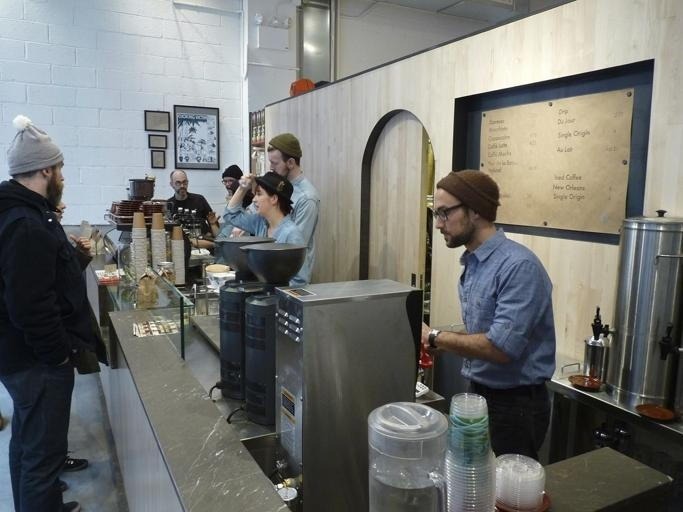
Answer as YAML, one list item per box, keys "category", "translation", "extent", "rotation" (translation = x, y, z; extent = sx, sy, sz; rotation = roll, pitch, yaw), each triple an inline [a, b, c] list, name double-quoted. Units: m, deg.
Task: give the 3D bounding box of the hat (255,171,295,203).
- category: "hat"
  translation: [-0.410, -0.442, 3.243]
  extent: [0.206, 0.076, 0.171]
  rotation: [36, -6, -32]

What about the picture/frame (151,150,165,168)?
- category: "picture/frame"
  translation: [-2.394, -1.264, 6.806]
  extent: [0.209, 0.271, 0.019]
  rotation: [-4, 8, -34]

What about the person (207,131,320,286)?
- category: "person"
  translation: [-0.509, -0.374, 3.932]
  extent: [0.739, 1.125, 1.571]
  rotation: [-2, 10, -12]

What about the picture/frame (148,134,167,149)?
- category: "picture/frame"
  translation: [-2.390, -1.483, 6.767]
  extent: [0.191, 0.150, 0.015]
  rotation: [-3, 8, -33]

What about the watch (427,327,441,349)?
- category: "watch"
  translation: [0.399, 0.359, 2.320]
  extent: [0.048, 0.075, 0.079]
  rotation: [4, 44, 5]

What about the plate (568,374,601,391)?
- category: "plate"
  translation: [1.250, 0.644, 2.702]
  extent: [0.130, 0.045, 0.164]
  rotation: [-8, 12, -36]

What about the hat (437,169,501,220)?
- category: "hat"
  translation: [0.583, -0.294, 2.409]
  extent: [0.246, 0.195, 0.204]
  rotation: [37, 24, 24]

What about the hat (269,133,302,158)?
- category: "hat"
  translation: [-0.427, -0.862, 4.068]
  extent: [0.224, 0.128, 0.162]
  rotation: [22, 14, -38]

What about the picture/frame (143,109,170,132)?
- category: "picture/frame"
  translation: [-2.389, -1.741, 6.727]
  extent: [0.287, 0.260, 0.034]
  rotation: [-2, 2, -32]

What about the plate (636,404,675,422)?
- category: "plate"
  translation: [1.466, 0.721, 2.438]
  extent: [0.164, 0.034, 0.126]
  rotation: [-1, 10, -2]

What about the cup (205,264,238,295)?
- category: "cup"
  translation: [-0.762, 0.124, 3.313]
  extent: [0.181, 0.139, 0.317]
  rotation: [4, 3, 34]

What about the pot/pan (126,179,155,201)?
- category: "pot/pan"
  translation: [-1.587, -0.519, 4.164]
  extent: [0.189, 0.156, 0.179]
  rotation: [-2, 3, -37]

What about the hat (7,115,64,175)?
- category: "hat"
  translation: [-1.681, -0.614, 2.953]
  extent: [0.306, 0.336, 0.282]
  rotation: [-10, 14, -21]

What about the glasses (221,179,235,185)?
- category: "glasses"
  translation: [-1.285, -0.842, 5.930]
  extent: [0.138, 0.044, 0.132]
  rotation: [3, -1, -38]

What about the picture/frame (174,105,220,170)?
- category: "picture/frame"
  translation: [-1.958, -1.609, 6.985]
  extent: [0.744, 1.086, 0.037]
  rotation: [-7, 14, -30]

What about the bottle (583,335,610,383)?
- category: "bottle"
  translation: [1.335, 0.530, 2.753]
  extent: [0.159, 0.227, 0.167]
  rotation: [4, 3, 0]

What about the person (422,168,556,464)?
- category: "person"
  translation: [0.660, 0.265, 2.333]
  extent: [0.553, 1.275, 0.327]
  rotation: [3, 10, 21]
